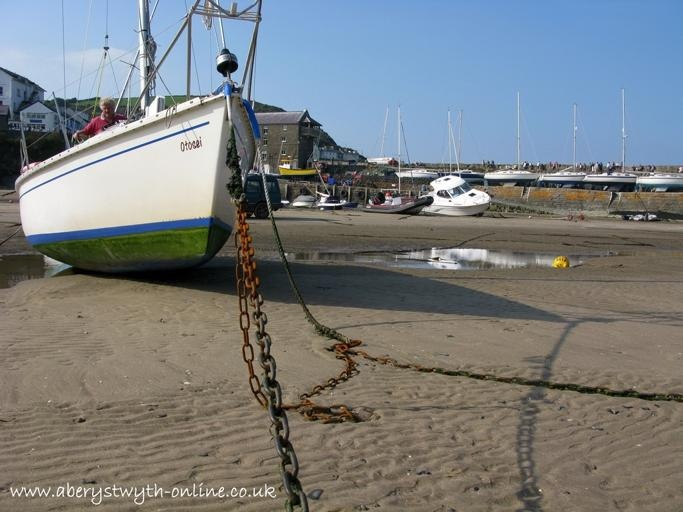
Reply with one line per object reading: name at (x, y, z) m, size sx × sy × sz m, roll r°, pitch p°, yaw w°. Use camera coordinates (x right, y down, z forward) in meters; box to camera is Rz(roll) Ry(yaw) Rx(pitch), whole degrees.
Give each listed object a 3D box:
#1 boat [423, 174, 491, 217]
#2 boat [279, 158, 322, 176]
boat at (6.865, -3.360, 38.215) m, size 2.256 × 1.596 × 4.247 m, roll -18°, pitch 20°, yaw -21°
boat at (-4.513, -10.824, 79.451) m, size 5.822 × 1.580 × 2.783 m, roll -1°, pitch 6°, yaw -12°
